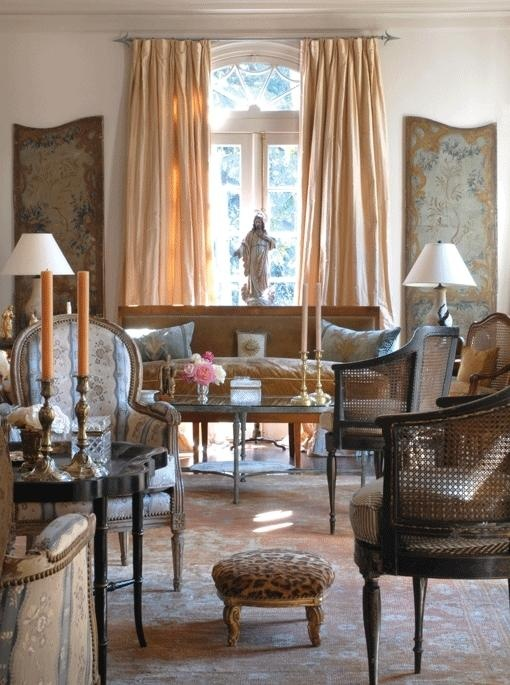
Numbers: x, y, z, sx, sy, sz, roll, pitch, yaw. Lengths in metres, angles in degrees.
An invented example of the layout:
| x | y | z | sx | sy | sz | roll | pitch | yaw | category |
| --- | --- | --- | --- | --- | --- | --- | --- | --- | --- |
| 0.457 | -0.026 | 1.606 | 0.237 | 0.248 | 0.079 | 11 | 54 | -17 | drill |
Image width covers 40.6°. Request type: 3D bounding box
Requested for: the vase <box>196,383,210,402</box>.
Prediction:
| x | y | z | sx | sy | sz | roll | pitch | yaw | category |
| --- | --- | --- | --- | --- | --- | --- | --- | --- | --- |
| -0.268 | 0.251 | 3.516 | 0.085 | 0.119 | 0.080 | -2 | 3 | -1 | vase |

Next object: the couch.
| x | y | z | sx | sy | sz | roll | pitch | yaw | category |
| --- | --- | --- | --- | --- | --- | --- | --- | --- | --- |
| 0.131 | 0.303 | 5.095 | 1.926 | 1.117 | 0.612 | 1 | 11 | -15 | couch |

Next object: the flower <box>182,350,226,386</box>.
| x | y | z | sx | sy | sz | roll | pitch | yaw | category |
| --- | --- | --- | --- | --- | --- | --- | --- | --- | --- |
| -0.282 | 0.141 | 3.617 | 0.197 | 0.108 | 0.193 | 10 | -16 | -34 | flower |

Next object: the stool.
| x | y | z | sx | sy | sz | roll | pitch | yaw | category |
| --- | --- | --- | --- | --- | --- | --- | --- | --- | --- |
| 0.050 | 0.712 | 1.921 | 0.329 | 0.226 | 0.304 | -1 | 4 | -4 | stool |

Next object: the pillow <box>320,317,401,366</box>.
| x | y | z | sx | sy | sz | roll | pitch | yaw | category |
| --- | --- | --- | --- | --- | --- | --- | --- | --- | --- |
| 0.655 | -0.010 | 4.439 | 0.329 | 0.234 | 0.113 | 8 | -23 | 40 | pillow |

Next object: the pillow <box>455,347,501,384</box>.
| x | y | z | sx | sy | sz | roll | pitch | yaw | category |
| --- | --- | --- | --- | --- | --- | --- | --- | --- | --- |
| 1.565 | 0.156 | 4.775 | 0.124 | 0.221 | 0.263 | 4 | -4 | -34 | pillow |

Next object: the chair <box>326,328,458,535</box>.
| x | y | z | sx | sy | sz | roll | pitch | yaw | category |
| --- | --- | --- | --- | --- | --- | --- | --- | --- | --- |
| 0.463 | 0.345 | 3.038 | 0.512 | 0.704 | 0.566 | -2 | 0 | -16 | chair |

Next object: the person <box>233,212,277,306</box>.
| x | y | z | sx | sy | sz | roll | pitch | yaw | category |
| --- | --- | --- | --- | --- | --- | --- | --- | --- | --- |
| -0.011 | -0.669 | 5.397 | 0.308 | 0.725 | 0.207 | -2 | 5 | -12 | person |

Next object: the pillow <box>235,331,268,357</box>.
| x | y | z | sx | sy | sz | roll | pitch | yaw | category |
| --- | --- | --- | --- | --- | --- | --- | --- | --- | --- |
| -0.026 | 0.006 | 5.210 | 0.198 | 0.181 | 0.058 | 1 | -8 | -5 | pillow |

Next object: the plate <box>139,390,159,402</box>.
| x | y | z | sx | sy | sz | roll | pitch | yaw | category |
| --- | --- | --- | --- | --- | --- | --- | --- | --- | --- |
| -0.539 | 0.263 | 3.419 | 0.089 | 0.044 | 0.126 | 0 | -5 | 0 | plate |

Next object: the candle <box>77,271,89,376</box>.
| x | y | z | sx | sy | sz | roll | pitch | yaw | category |
| --- | --- | --- | --- | --- | --- | --- | --- | --- | --- |
| -0.355 | -0.040 | 1.417 | 0.020 | 0.217 | 0.046 | -2 | 5 | -8 | candle |
